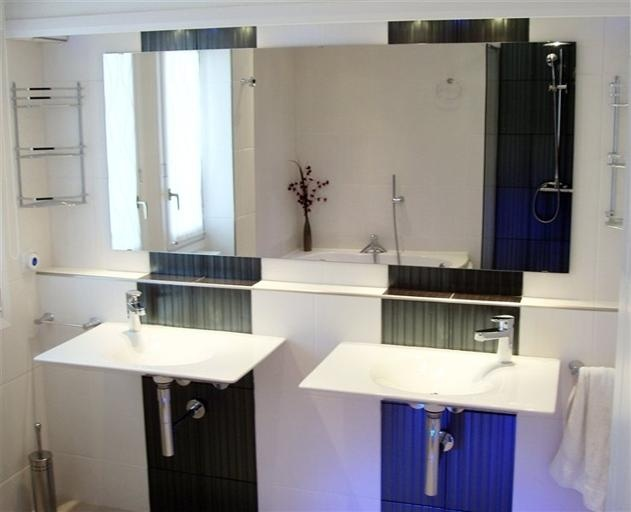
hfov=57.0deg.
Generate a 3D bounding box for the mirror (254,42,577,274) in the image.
[{"bbox_3d":[0.419,-0.406,2.213,0.794,0.657,0.015,2,10,17],"label":"mirror"}]

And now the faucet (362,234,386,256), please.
[{"bbox_3d":[0.233,-0.050,2.326,0.072,0.058,0.077,2,8,14],"label":"faucet"}]

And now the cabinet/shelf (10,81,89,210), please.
[{"bbox_3d":[-1.238,-0.498,2.695,0.300,0.584,0.185,-7,14,-36],"label":"cabinet/shelf"}]

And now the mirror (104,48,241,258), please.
[{"bbox_3d":[-0.592,-0.467,2.503,0.589,0.954,0.012,-10,25,-31],"label":"mirror"}]

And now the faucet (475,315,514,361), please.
[{"bbox_3d":[0.648,0.305,2.112,0.149,0.179,0.055,-5,15,-15],"label":"faucet"}]
